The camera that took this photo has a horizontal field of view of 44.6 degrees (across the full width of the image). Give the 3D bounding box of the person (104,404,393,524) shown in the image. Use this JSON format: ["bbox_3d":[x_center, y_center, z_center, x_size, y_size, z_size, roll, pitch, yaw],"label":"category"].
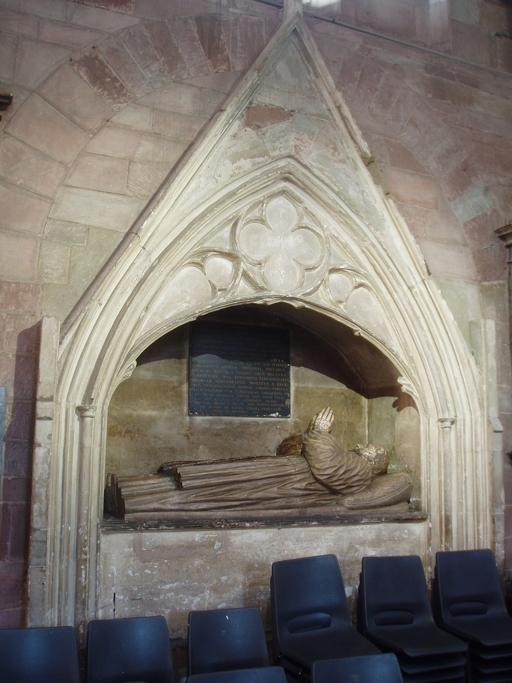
[{"bbox_3d":[0.000,0.762,4.050,1.882,0.685,0.610,4,5,-13],"label":"person"}]
